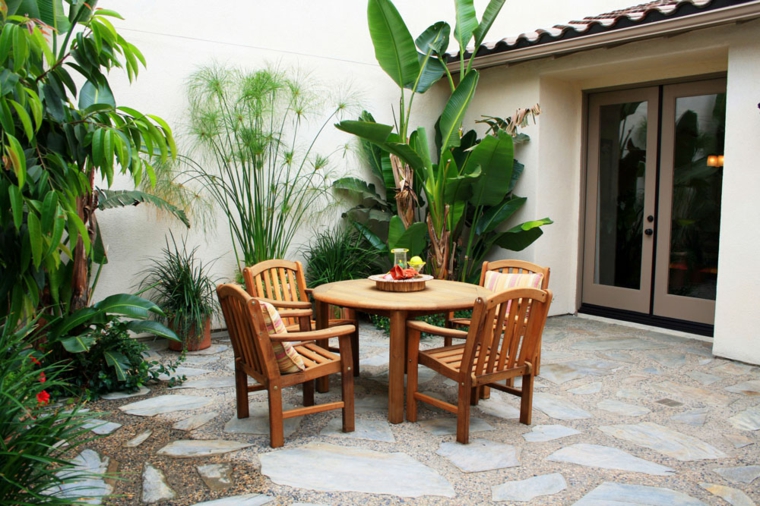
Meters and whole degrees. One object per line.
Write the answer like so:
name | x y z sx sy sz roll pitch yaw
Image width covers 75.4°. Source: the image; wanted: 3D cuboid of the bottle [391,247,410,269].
bottle | 0.173 0.049 4.528 0.224 0.198 0.202 -1 4 -1

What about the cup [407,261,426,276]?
cup | 0.331 0.133 4.588 0.168 0.141 0.155 0 8 0

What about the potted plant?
potted plant | -2.421 0.423 6.201 1.480 1.396 1.254 1 2 23
